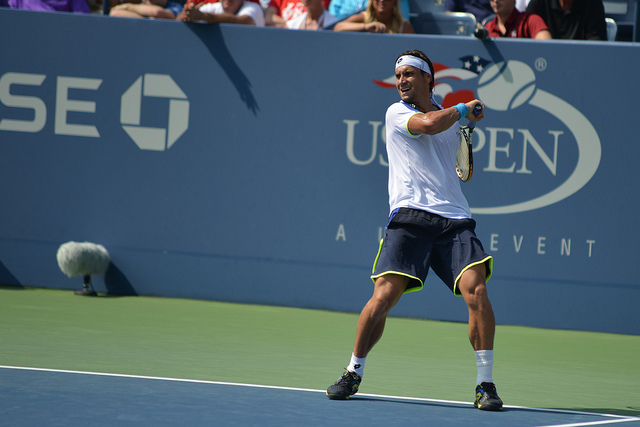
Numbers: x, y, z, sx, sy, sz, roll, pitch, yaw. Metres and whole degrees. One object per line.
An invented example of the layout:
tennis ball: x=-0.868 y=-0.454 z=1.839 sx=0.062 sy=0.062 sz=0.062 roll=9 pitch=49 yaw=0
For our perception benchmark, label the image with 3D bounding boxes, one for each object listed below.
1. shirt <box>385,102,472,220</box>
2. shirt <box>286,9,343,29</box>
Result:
shirt: x=1.009 y=-0.498 z=9.822 sx=0.795 sy=1.070 sz=0.310 roll=3 pitch=3 yaw=3
shirt: x=-0.114 y=-2.355 z=12.677 sx=0.344 sy=0.171 sz=0.373 roll=-21 pitch=26 yaw=-34
